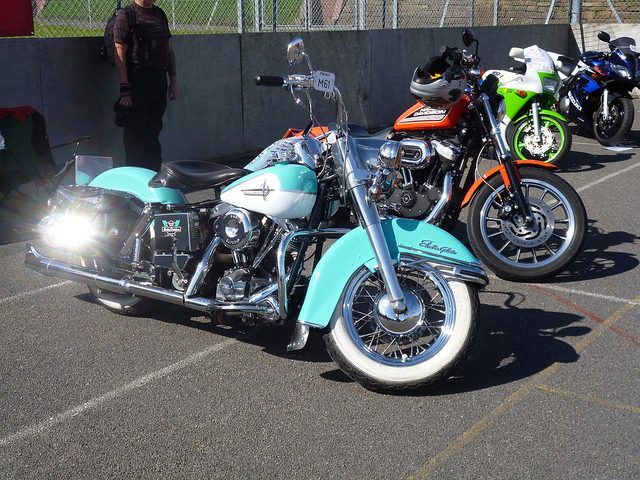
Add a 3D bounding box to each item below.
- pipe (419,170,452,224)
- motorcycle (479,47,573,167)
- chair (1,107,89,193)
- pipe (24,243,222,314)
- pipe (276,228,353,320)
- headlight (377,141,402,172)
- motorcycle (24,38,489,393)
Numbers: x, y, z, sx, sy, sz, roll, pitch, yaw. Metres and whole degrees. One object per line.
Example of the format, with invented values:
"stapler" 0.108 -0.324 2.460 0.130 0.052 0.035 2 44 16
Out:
"pipe" 1.040 -0.366 4.751 0.117 0.414 0.303 29 -6 -27
"motorcycle" 3.133 -2.256 8.880 1.067 1.740 2.533 0 17 -25
"chair" -3.458 -1.099 6.573 0.863 1.120 0.804 21 29 11
"pipe" -1.515 0.315 4.186 1.337 0.235 0.145 20 2 21
"pipe" -0.098 0.213 3.613 0.462 0.590 0.121 -11 22 -36
"headlight" 0.450 -0.540 3.490 0.165 0.228 0.234 11 19 6
"motorcycle" -0.618 -0.157 4.029 3.167 1.979 1.226 9 7 14
